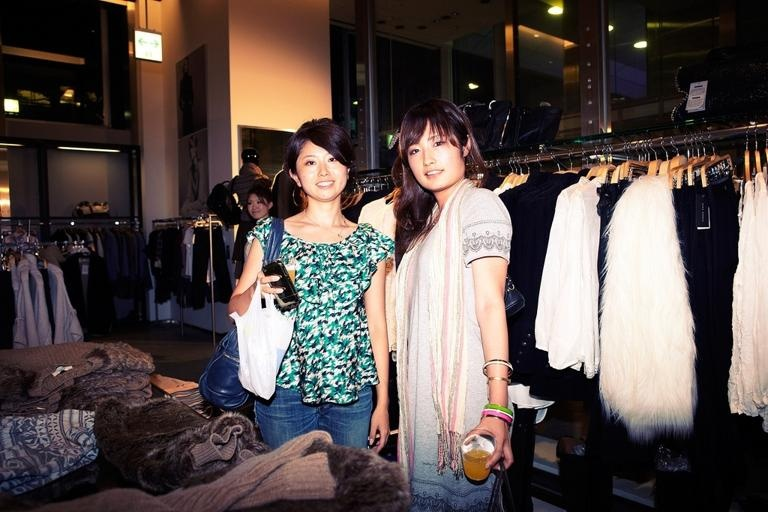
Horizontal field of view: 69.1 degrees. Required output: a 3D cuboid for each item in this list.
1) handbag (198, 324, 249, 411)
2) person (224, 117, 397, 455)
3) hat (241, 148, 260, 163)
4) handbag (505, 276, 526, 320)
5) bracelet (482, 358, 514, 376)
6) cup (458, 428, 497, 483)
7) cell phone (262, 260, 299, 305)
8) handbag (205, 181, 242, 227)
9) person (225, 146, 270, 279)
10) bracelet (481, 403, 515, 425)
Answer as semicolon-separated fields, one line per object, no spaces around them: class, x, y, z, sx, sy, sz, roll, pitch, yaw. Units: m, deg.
handbag;-0.696;0.514;2.524;0.274;0.407;0.203;2;2;24
person;-0.302;0.146;2.495;0.723;1.520;0.345;0;2;-19
hat;-1.619;-1.182;6.790;0.239;0.202;0.197;-6;23;-42
handbag;0.545;0.172;2.353;0.079;0.162;0.203;2;2;13
bracelet;0.459;0.437;2.210;0.120;0.069;0.058;1;2;-15
cup;0.328;0.756;2.132;0.134;0.173;0.172;0;-2;-2
cell phone;-0.435;0.117;2.305;0.112;0.219;0.023;-20;13;9
handbag;-1.938;-0.611;6.766;0.195;0.395;0.553;-16;-25;-34
person;-1.585;-0.402;6.650;0.575;1.618;0.565;12;20;20
bracelet;0.443;0.613;2.180;0.126;0.087;0.069;1;2;-1
